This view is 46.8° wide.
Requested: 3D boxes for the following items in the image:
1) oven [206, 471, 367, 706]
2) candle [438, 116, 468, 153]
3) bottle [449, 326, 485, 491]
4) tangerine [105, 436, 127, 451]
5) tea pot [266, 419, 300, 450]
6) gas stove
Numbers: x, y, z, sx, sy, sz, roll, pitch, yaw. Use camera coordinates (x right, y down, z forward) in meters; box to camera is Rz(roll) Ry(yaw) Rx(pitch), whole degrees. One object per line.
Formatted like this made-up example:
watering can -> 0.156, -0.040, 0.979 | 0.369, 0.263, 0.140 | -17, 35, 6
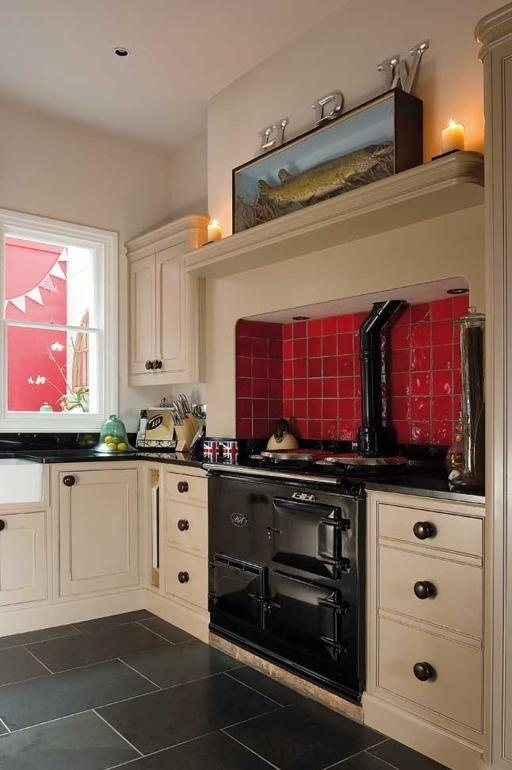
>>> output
oven -> 0.162, 0.702, 2.347 | 0.361, 0.706, 0.837 | 4, -5, -40
candle -> 0.582, -0.731, 1.755 | 0.061, 0.117, 0.070 | -3, -6, 16
bottle -> 0.619, 0.047, 1.742 | 0.118, 0.498, 0.155 | -3, -6, 17
tangerine -> -0.840, 0.357, 3.534 | 0.083, 0.046, 0.112 | 13, -4, 6
tea pot -> 0.136, 0.236, 3.016 | 0.158, 0.226, 0.157 | 0, 3, 0
gas stove -> 0.299, 0.319, 2.409 | 0.531, 0.092, 0.711 | 3, -7, -40
